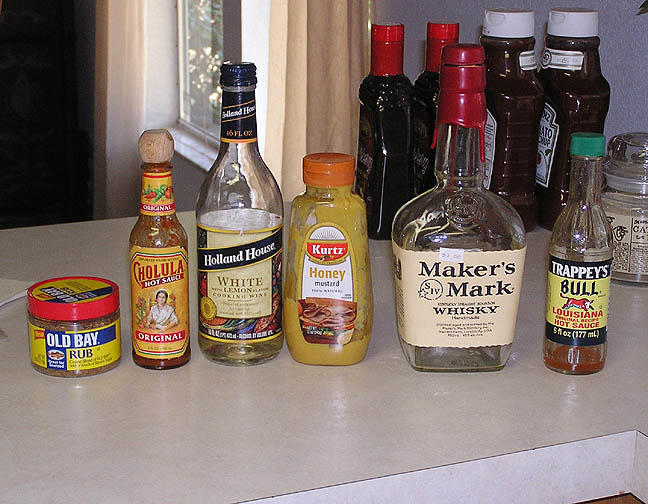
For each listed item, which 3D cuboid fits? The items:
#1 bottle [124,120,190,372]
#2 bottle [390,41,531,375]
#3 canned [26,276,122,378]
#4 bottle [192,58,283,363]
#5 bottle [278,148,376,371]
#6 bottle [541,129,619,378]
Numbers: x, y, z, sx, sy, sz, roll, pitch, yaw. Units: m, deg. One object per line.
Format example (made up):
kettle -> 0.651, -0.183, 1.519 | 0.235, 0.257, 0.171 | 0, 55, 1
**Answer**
bottle -> -0.187, 0.000, 0.657 | 0.078, 0.262, 0.085 | -3, 18, 1
bottle -> 0.144, -0.040, 0.643 | 0.140, 0.340, 0.069 | -2, 19, 6
canned -> -0.264, 0.084, 0.692 | 0.105, 0.085, 0.098 | 3, 17, 6
bottle -> -0.105, -0.044, 0.691 | 0.114, 0.327, 0.157 | -6, 18, -6
bottle -> 0.000, 0.012, 0.672 | 0.100, 0.234, 0.079 | -4, 18, -1
bottle -> 0.299, -0.005, 0.691 | 0.067, 0.258, 0.157 | 6, 20, 25
